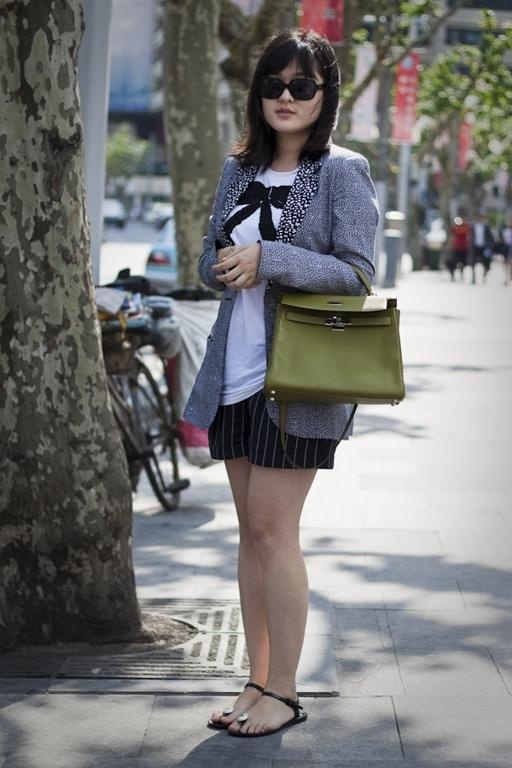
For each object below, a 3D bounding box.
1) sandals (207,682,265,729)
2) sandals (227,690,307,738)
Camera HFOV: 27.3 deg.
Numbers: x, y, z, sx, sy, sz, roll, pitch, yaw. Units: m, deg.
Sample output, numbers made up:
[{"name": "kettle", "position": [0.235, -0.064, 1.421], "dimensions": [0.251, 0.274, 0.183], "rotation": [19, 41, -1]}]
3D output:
[{"name": "sandals", "position": [-0.051, 0.902, 2.943], "dimensions": [0.068, 0.074, 0.204], "rotation": [12, 4, 37]}, {"name": "sandals", "position": [0.047, 0.916, 2.934], "dimensions": [0.248, 0.089, 0.087], "rotation": [2, -3, -35]}]
